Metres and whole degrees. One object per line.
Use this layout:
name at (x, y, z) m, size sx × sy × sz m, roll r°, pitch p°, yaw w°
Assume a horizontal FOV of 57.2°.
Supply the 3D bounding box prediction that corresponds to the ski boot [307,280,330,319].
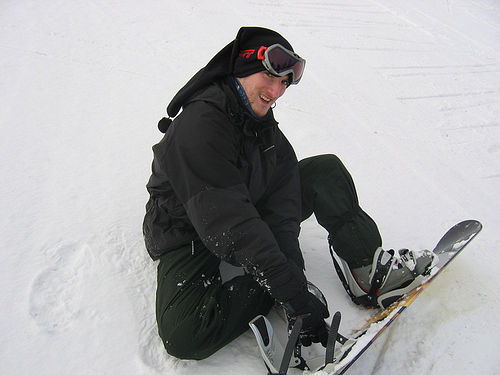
ski boot at (0.530, 0.960, 3.817) m, size 0.247 × 0.207 × 0.226 m, roll -17°, pitch 47°, yaw -6°
